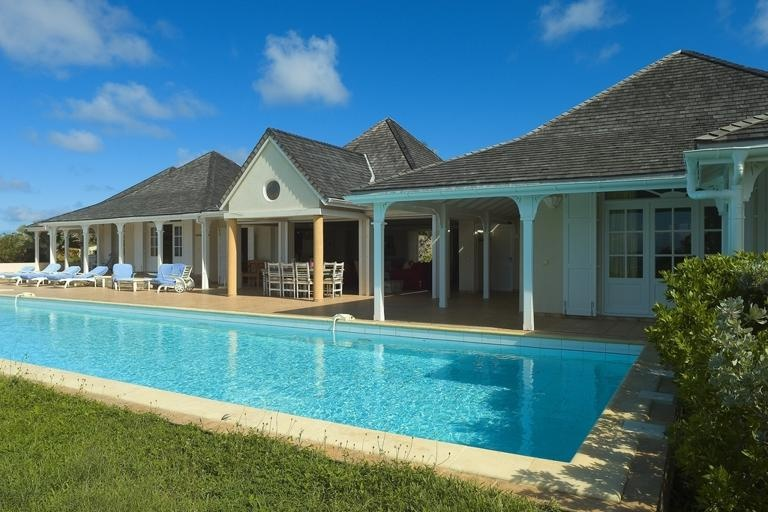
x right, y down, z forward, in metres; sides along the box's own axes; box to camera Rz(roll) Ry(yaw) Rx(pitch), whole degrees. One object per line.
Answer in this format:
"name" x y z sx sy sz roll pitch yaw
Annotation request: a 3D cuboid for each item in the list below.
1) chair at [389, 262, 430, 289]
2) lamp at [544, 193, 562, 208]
"chair" 1.005 0.839 22.370 1.615 1.074 1.136 -1 1 -38
"lamp" 4.469 -1.435 14.306 0.443 0.299 0.424 -2 -1 -3
